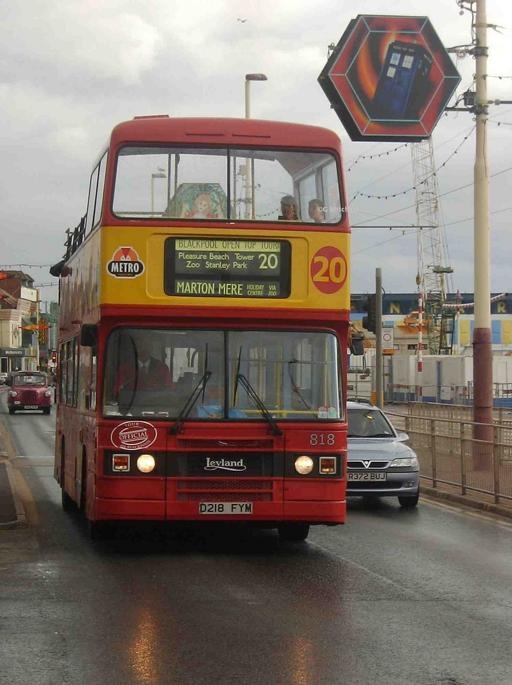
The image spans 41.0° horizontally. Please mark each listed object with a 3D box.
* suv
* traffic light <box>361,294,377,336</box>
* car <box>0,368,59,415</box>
[{"bbox_3d":[2.121,2.074,12.529,1.063,1.098,2.317,0,-6,-5],"label":"suv"},{"bbox_3d":[4.124,-1.053,24.792,0.467,1.376,2.039,-1,-2,9],"label":"traffic light"},{"bbox_3d":[-14.647,3.317,44.953,2.768,2.484,5.130,1,-5,-12],"label":"car"}]
